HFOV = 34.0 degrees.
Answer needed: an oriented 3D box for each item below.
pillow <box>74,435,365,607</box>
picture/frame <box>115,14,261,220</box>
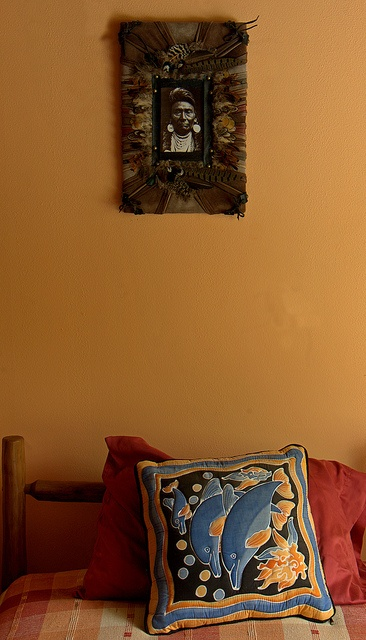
[{"bbox_3d":[-0.029,0.595,1.650,0.533,0.402,0.160,-3,-28,2],"label":"pillow"},{"bbox_3d":[0.010,-0.620,1.759,0.550,0.708,0.085,0,8,2],"label":"picture/frame"}]
